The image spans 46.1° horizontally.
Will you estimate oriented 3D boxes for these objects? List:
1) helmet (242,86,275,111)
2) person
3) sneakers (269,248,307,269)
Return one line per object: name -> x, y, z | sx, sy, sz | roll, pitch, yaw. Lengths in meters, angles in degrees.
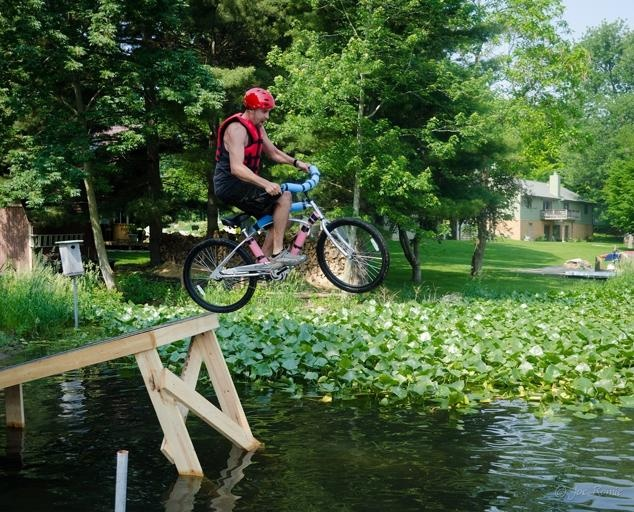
helmet -> -0.754, -1.995, 9.518 | 0.404, 0.254, 0.319 | 7, -41, -2
person -> -0.776, -1.074, 9.637 | 1.139, 2.322, 0.748 | 3, 2, -6
sneakers -> -0.323, 0.029, 9.568 | 0.568, 0.204, 0.187 | -4, 4, 17
